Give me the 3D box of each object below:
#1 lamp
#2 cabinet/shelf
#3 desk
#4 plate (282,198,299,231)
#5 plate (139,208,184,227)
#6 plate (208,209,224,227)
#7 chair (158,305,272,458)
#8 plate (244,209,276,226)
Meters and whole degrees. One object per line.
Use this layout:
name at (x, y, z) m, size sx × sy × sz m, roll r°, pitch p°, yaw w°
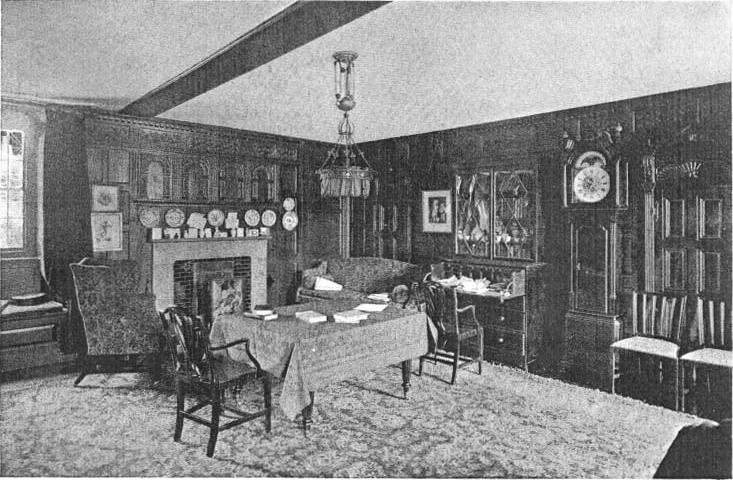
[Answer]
lamp at (-0.176, -1.136, 5.949) m, size 0.631 × 1.283 × 0.594 m, roll -6°, pitch 16°, yaw -16°
cabinet/shelf at (1.409, 0.900, 6.848) m, size 1.165 × 1.097 × 0.417 m, roll 4°, pitch 5°, yaw 44°
desk at (-0.596, 0.999, 5.958) m, size 1.384 × 0.509 × 1.190 m, roll -3°, pitch 8°, yaw -39°
plate at (-0.958, -0.309, 7.660) m, size 0.245 × 0.384 × 0.053 m, roll -1°, pitch 4°, yaw -17°
plate at (-2.168, -0.225, 6.458) m, size 0.209 × 0.230 × 0.557 m, roll 1°, pitch 6°, yaw 40°
plate at (-1.688, -0.247, 6.848) m, size 0.166 × 0.168 × 0.048 m, roll -2°, pitch 8°, yaw -43°
chair at (-1.384, 1.240, 5.664) m, size 0.884 × 1.286 × 0.933 m, roll 0°, pitch 5°, yaw 18°
plate at (-1.310, -0.277, 7.541) m, size 0.125 × 0.218 × 0.524 m, roll 1°, pitch 5°, yaw 35°
